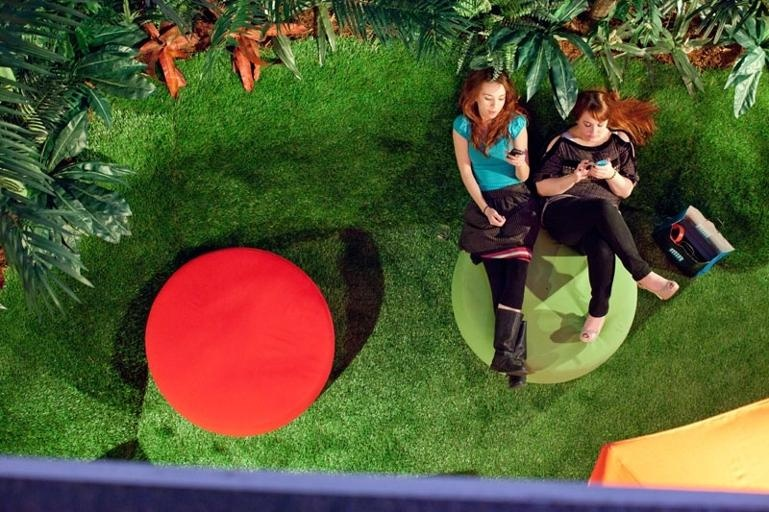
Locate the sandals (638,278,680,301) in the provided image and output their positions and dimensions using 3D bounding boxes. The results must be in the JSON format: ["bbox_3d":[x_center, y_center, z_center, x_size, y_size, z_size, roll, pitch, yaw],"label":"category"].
[{"bbox_3d":[1.923,0.236,4.111,0.295,0.109,0.090,20,25,31],"label":"sandals"}]

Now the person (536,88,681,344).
[{"bbox_3d":[1.501,-0.352,4.134,0.858,1.255,1.313,0,47,-2],"label":"person"}]

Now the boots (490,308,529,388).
[{"bbox_3d":[0.893,0.668,4.151,0.268,0.632,0.315,5,47,3],"label":"boots"}]

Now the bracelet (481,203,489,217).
[{"bbox_3d":[0.704,-0.313,4.102,0.053,0.043,0.056,-33,32,-21],"label":"bracelet"}]

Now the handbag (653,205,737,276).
[{"bbox_3d":[2.316,-0.119,4.325,0.424,0.290,0.235,50,27,-1],"label":"handbag"}]
